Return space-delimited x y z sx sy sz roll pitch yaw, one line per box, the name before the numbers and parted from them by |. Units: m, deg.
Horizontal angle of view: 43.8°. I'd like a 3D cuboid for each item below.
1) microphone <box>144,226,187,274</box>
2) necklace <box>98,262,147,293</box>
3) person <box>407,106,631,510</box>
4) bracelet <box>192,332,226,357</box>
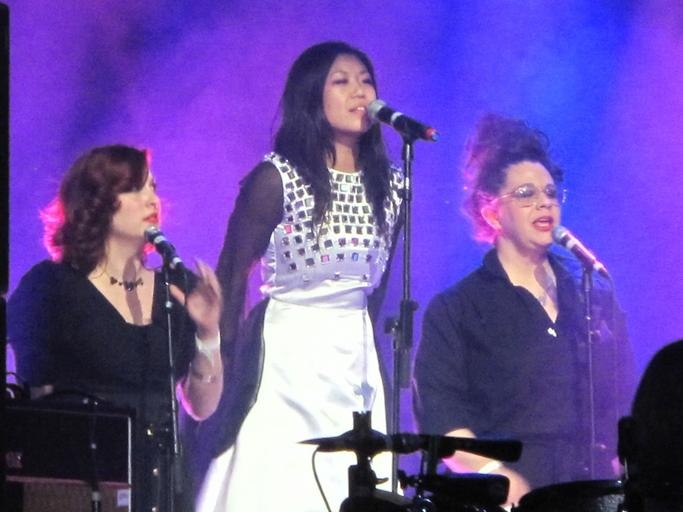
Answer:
microphone | -0.955 -0.048 4.651 0.117 0.481 0.160 -37 -51 3
necklace | -1.256 0.125 4.819 0.194 0.053 0.157 41 24 10
person | 1.072 0.296 5.006 1.270 2.192 0.390 4 -12 -19
bracelet | -0.735 0.495 4.798 0.106 0.097 0.116 -1 1 4
